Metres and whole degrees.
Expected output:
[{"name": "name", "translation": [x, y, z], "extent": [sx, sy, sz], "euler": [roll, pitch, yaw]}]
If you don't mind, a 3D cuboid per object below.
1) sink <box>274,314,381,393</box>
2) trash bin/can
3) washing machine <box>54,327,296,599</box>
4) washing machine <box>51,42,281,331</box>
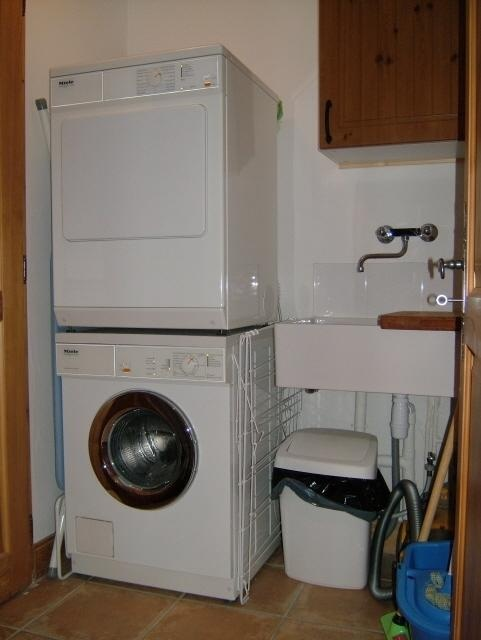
[{"name": "sink", "translation": [0.254, 0.089, 1.864], "extent": [0.219, 0.194, 0.255], "euler": [0, -5, 17]}, {"name": "trash bin/can", "translation": [0.269, 0.639, 1.915], "extent": [0.330, 0.584, 0.396], "euler": [0, -7, 8]}, {"name": "washing machine", "translation": [-0.196, 0.436, 2.033], "extent": [0.597, 1.178, 0.753], "euler": [-1, -3, 18]}, {"name": "washing machine", "translation": [-0.352, -0.388, 2.109], "extent": [0.675, 1.288, 0.752], "euler": [0, 0, 20]}]
